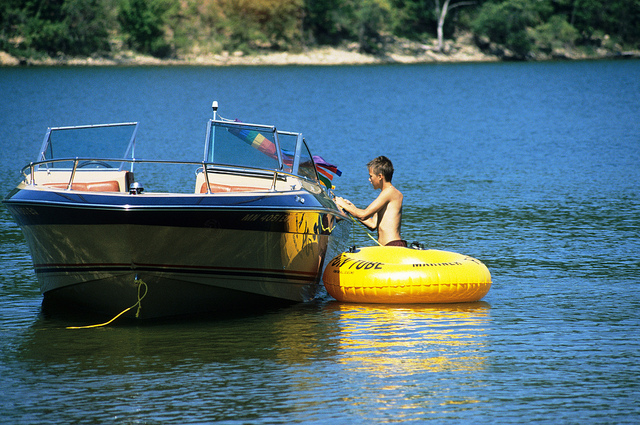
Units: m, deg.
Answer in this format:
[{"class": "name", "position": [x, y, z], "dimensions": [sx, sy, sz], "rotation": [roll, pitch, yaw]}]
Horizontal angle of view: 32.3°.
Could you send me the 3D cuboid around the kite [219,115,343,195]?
[{"class": "kite", "position": [-0.933, -1.034, 22.714], "dimensions": [3.567, 0.572, 0.966], "rotation": [24, 25, -13]}]
